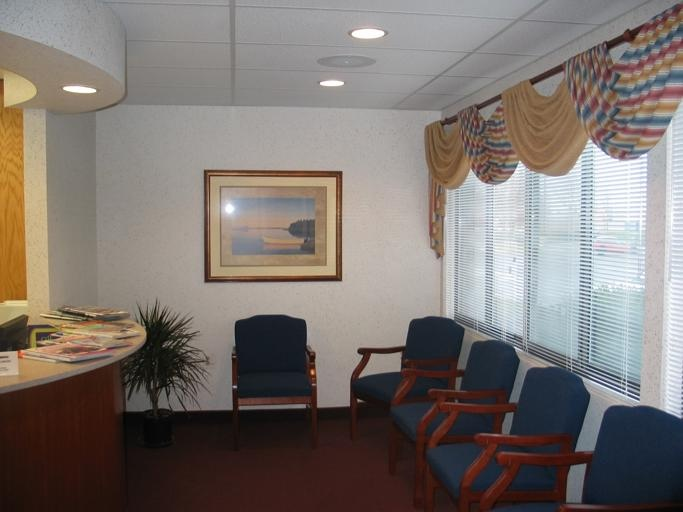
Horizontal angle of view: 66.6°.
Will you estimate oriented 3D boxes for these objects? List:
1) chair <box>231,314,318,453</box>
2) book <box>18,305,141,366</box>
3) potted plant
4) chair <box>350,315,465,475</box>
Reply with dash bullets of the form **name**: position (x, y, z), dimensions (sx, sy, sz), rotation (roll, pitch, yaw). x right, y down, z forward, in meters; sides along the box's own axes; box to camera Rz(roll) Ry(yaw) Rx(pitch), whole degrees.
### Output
- **chair**: position (-0.705, 1.296, 5.433), dimensions (0.837, 1.231, 0.831), rotation (-1, 7, -10)
- **book**: position (-1.797, 0.570, 3.621), dimensions (0.480, 0.114, 0.480), rotation (6, 4, 38)
- **potted plant**: position (-1.816, 1.211, 5.366), dimensions (0.822, 1.384, 0.926), rotation (0, 7, -9)
- **chair**: position (0.644, 1.276, 5.275), dimensions (0.970, 1.141, 0.953), rotation (-2, 2, -16)
